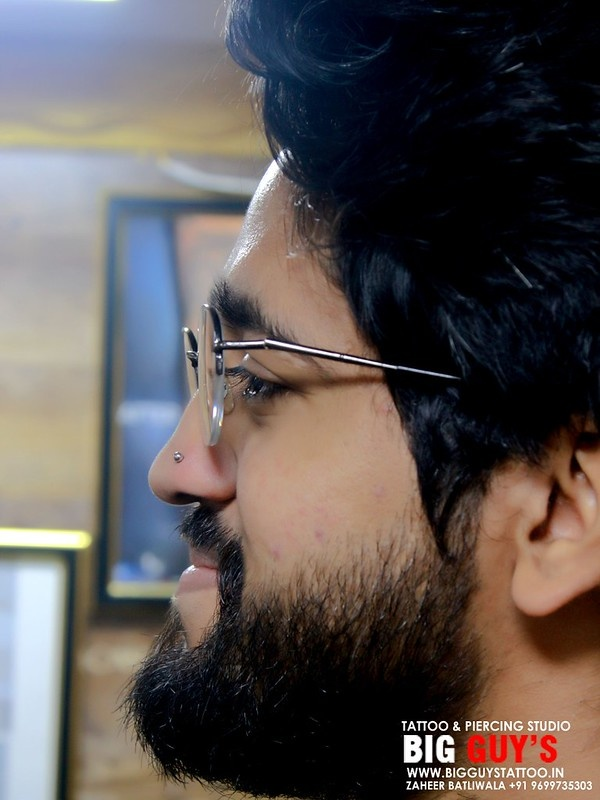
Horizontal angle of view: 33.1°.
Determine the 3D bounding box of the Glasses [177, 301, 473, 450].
[{"bbox_3d":[0.014,-0.004,1.142,0.244,0.082,0.209,5,-1,-14],"label":"Glasses"}]
